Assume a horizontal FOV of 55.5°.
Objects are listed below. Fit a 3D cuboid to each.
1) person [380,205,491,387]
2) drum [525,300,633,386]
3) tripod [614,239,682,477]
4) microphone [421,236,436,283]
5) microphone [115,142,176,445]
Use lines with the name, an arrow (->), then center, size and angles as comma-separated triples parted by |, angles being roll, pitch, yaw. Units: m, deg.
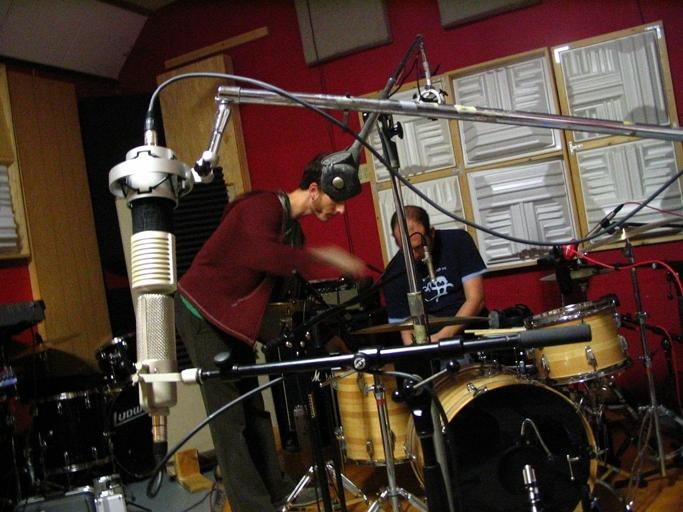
person -> 0.677, 0.209, 4.803 | 0.770, 1.198, 0.766 | -19, -33, 10
drum -> 1.386, 0.516, 4.010 | 0.548, 0.383, 0.557 | -31, 3, 2
tripod -> 2.065, 0.635, 4.327 | 0.349, 1.221, 1.072 | -7, -5, 23
microphone -> 0.581, 0.020, 4.345 | 0.054, 0.336, 0.073 | -4, 5, 14
microphone -> -0.727, 0.140, 2.471 | 0.243, 1.122, 0.260 | -4, -4, -21
